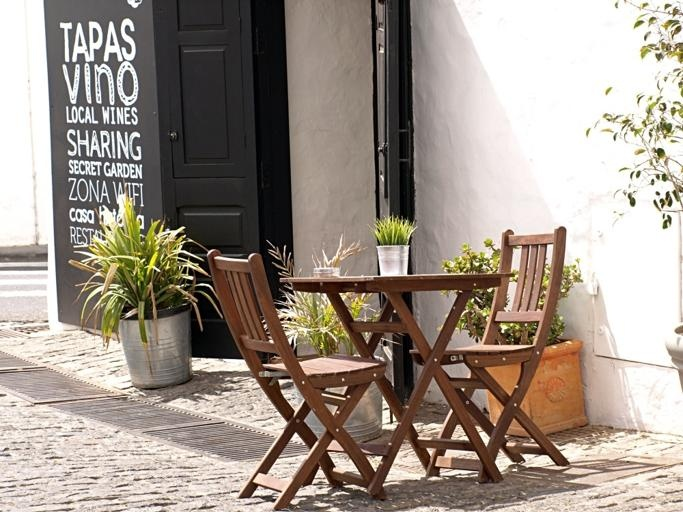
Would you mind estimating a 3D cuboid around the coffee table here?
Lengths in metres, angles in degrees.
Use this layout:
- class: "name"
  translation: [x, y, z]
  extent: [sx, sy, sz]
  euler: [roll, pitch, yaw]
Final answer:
- class: "coffee table"
  translation: [0.299, 0.552, 4.333]
  extent: [1.167, 1.333, 1.158]
  euler: [-4, 4, -28]

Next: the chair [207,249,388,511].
- class: "chair"
  translation: [-0.220, 0.639, 3.835]
  extent: [0.916, 1.380, 0.556]
  euler: [-4, 6, -13]

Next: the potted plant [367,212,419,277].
- class: "potted plant"
  translation: [0.368, -0.068, 4.353]
  extent: [0.383, 0.490, 0.355]
  euler: [2, -6, -19]

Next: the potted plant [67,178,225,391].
- class: "potted plant"
  translation: [-1.848, 0.237, 6.625]
  extent: [0.939, 1.704, 1.687]
  euler: [-5, 6, -16]
